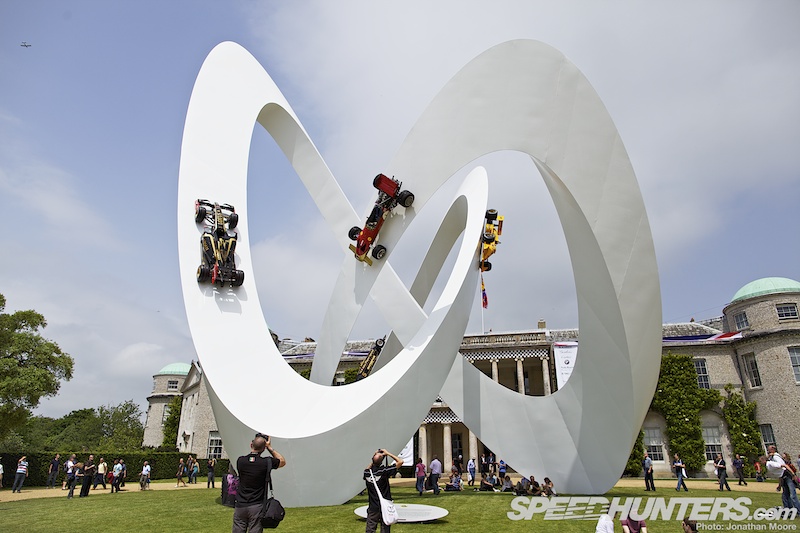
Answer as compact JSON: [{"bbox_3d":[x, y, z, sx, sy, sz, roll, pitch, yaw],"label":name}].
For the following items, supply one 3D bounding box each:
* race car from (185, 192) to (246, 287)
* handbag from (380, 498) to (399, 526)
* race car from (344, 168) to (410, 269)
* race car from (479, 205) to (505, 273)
[{"bbox_3d":[-6.663,-0.872,16.503,1.573,3.565,0.919,6,-16,-31],"label":"race car"},{"bbox_3d":[-0.244,5.909,10.808,0.356,0.585,0.376,-6,-19,12],"label":"handbag"},{"bbox_3d":[-0.670,-1.840,17.727,1.391,3.043,2.523,13,-24,-37],"label":"race car"},{"bbox_3d":[3.704,-0.977,18.508,0.778,2.518,0.746,7,18,22],"label":"race car"}]
